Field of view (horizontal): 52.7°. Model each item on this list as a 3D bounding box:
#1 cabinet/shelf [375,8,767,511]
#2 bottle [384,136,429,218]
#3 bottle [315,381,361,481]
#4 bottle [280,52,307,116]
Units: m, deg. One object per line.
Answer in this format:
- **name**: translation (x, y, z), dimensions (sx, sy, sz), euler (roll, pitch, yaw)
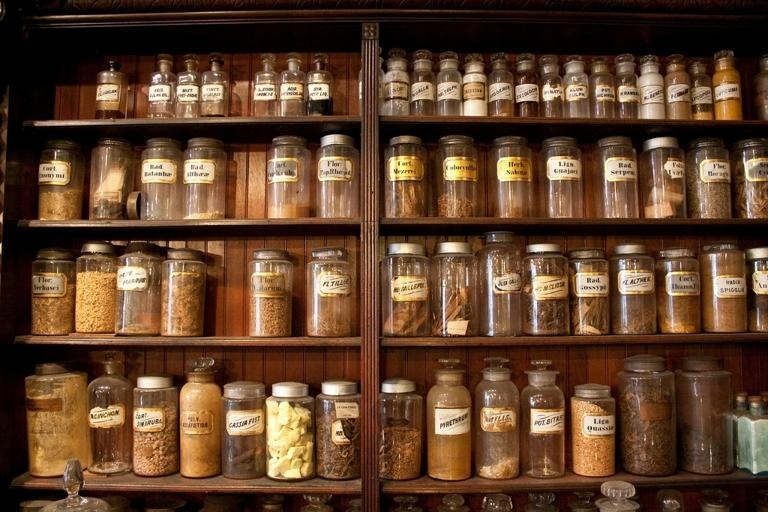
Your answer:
- **cabinet/shelf**: translation (0.908, 0.045, 3.859), dimensions (2.756, 0.792, 2.285), euler (0, 86, -3)
- **bottle**: translation (0.108, -0.383, 3.860), dimensions (0.202, 0.247, 0.384), euler (1, 58, -3)
- **bottle**: translation (-0.197, 0.855, 3.855), dimensions (0.271, 0.270, 0.429), euler (-7, 81, 35)
- **bottle**: translation (-0.471, -0.845, 3.958), dimensions (0.130, 0.144, 0.397), euler (0, 57, -4)
